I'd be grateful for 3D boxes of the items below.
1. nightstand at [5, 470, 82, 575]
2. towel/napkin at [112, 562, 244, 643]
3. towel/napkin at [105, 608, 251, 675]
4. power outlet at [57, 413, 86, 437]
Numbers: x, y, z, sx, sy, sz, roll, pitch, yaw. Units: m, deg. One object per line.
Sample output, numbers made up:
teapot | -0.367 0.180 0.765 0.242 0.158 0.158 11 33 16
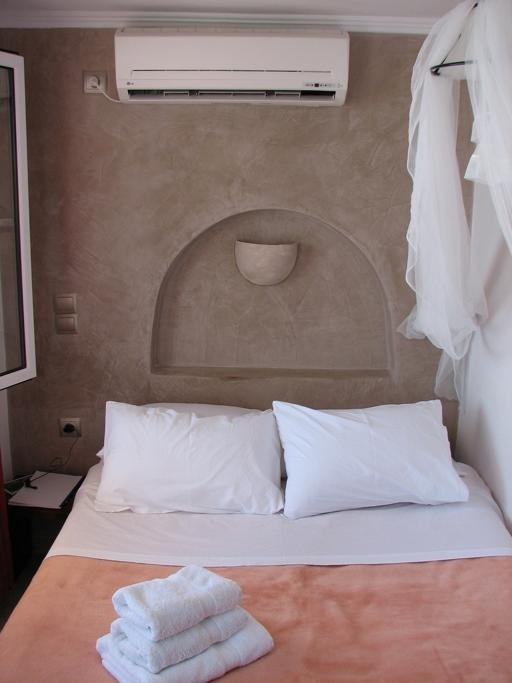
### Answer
nightstand | -0.882 0.734 2.336 0.336 0.397 0.252 0 13 0
towel/napkin | -0.182 0.623 1.373 0.191 0.073 0.160 -6 7 -45
towel/napkin | -0.188 0.706 1.320 0.174 0.061 0.146 -4 4 -42
power outlet | -0.856 0.396 2.629 0.132 0.148 0.074 2 15 -4
